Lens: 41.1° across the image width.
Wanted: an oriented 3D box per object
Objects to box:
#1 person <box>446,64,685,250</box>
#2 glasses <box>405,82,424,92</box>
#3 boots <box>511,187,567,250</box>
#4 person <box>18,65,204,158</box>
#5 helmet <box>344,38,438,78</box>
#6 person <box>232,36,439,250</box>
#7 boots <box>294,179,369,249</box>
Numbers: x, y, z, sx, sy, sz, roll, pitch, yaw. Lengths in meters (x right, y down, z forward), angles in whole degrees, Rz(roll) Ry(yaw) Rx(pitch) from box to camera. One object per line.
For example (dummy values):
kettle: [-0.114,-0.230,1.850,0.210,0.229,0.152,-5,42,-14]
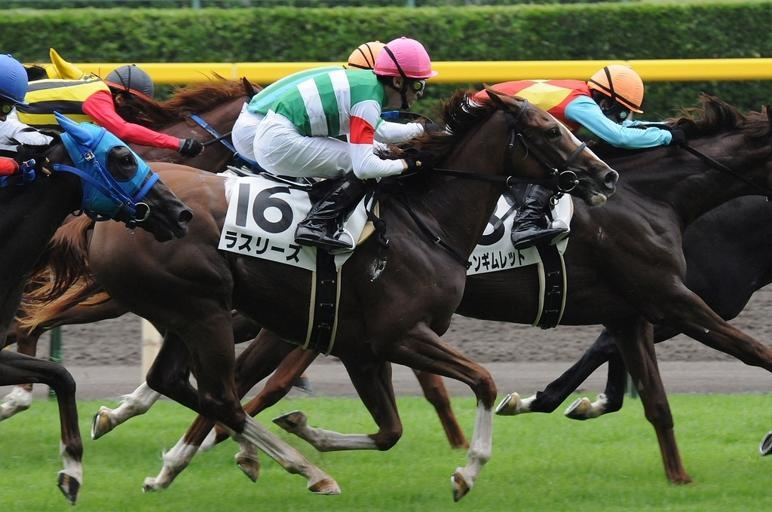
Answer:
person: [1.334,-0.916,7.255,1.740,0.990,0.505,7,45,26]
glasses: [0.170,-1.048,6.397,0.088,0.024,0.080,4,-4,-29]
boots: [1.004,-0.251,6.791,0.394,0.416,0.276,5,12,25]
person: [-2.313,-1.009,7.363,1.810,0.351,0.873,2,26,-5]
helmet: [0.061,-1.238,6.407,0.733,0.180,0.386,1,12,0]
person: [-0.296,-0.701,6.328,1.238,1.257,0.751,-1,12,-7]
boots: [-0.313,-0.237,6.179,0.488,0.178,0.396,21,52,7]
